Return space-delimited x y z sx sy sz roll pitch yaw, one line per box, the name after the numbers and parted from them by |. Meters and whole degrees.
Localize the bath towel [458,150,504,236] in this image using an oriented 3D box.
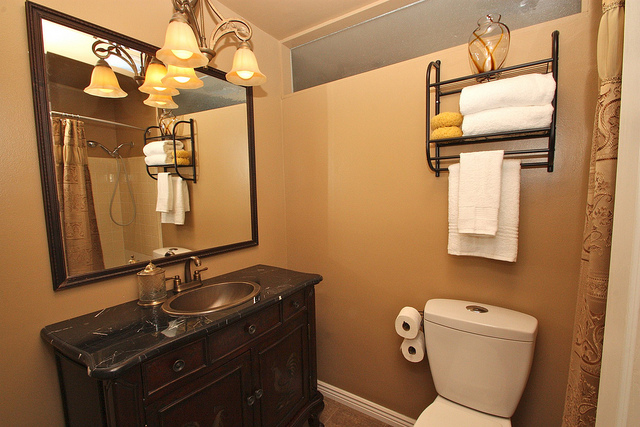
0.899 -0.116 2.622 0.259 0.472 0.071 5 0 45 | bath towel

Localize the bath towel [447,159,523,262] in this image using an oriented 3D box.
0.947 -0.030 2.624 0.589 0.782 0.095 1 5 31 | bath towel

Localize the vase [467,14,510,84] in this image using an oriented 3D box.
0.943 -0.913 2.606 0.226 0.402 0.194 0 7 18 | vase

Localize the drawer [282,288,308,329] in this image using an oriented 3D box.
-0.162 0.567 2.798 0.143 0.162 0.266 -1 2 33 | drawer

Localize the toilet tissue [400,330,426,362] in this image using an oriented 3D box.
0.564 0.808 2.872 0.166 0.171 0.205 10 8 17 | toilet tissue

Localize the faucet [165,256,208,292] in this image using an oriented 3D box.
-0.771 0.349 2.745 0.157 0.216 0.311 10 14 42 | faucet

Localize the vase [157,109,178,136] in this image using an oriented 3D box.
-0.911 -0.542 2.740 0.134 0.210 0.137 -4 14 -22 | vase

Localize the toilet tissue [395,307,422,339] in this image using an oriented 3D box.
0.529 0.635 2.822 0.162 0.160 0.177 4 15 21 | toilet tissue

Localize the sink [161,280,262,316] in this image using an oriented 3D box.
-0.678 0.459 2.718 0.480 0.149 0.541 3 6 32 | sink

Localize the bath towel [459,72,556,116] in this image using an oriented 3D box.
1.011 -0.651 2.528 0.479 0.197 0.085 0 6 12 | bath towel
